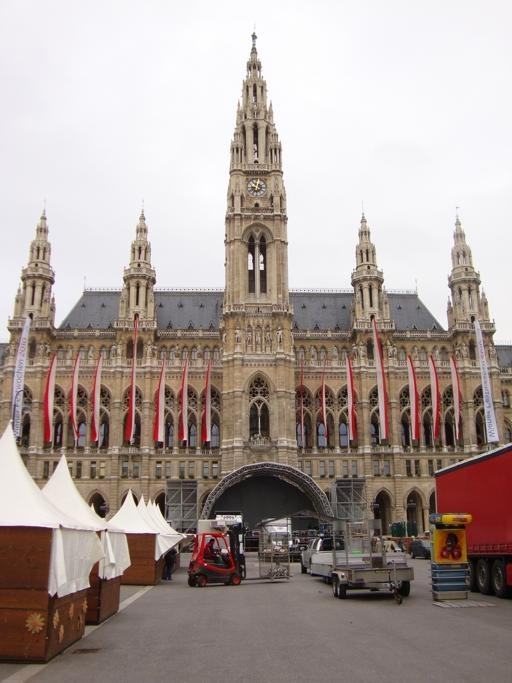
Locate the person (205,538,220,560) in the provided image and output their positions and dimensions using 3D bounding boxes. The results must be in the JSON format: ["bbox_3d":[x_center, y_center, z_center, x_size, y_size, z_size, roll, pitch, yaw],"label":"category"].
[{"bbox_3d":[-2.017,9.371,26.669,0.458,1.033,1.118,-5,-15,21],"label":"person"}]

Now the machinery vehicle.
[{"bbox_3d":[-1.488,9.848,27.464,2.777,2.746,1.558,5,-20,-19],"label":"machinery vehicle"}]

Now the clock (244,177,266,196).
[{"bbox_3d":[0.044,-16.882,66.881,1.736,1.998,1.971,-7,-38,-12],"label":"clock"}]
